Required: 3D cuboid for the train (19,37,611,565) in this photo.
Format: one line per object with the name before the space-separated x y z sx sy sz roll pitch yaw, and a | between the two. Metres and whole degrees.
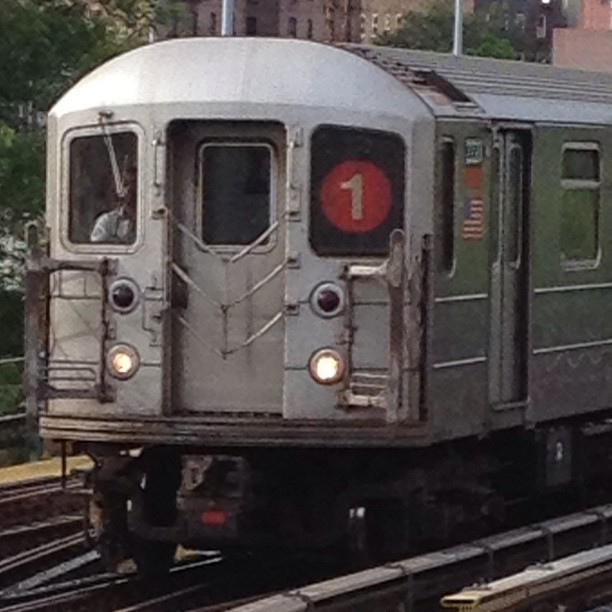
train | 0.216 0.052 8.786 4.432 4.064 1.806 -8 9 -28
